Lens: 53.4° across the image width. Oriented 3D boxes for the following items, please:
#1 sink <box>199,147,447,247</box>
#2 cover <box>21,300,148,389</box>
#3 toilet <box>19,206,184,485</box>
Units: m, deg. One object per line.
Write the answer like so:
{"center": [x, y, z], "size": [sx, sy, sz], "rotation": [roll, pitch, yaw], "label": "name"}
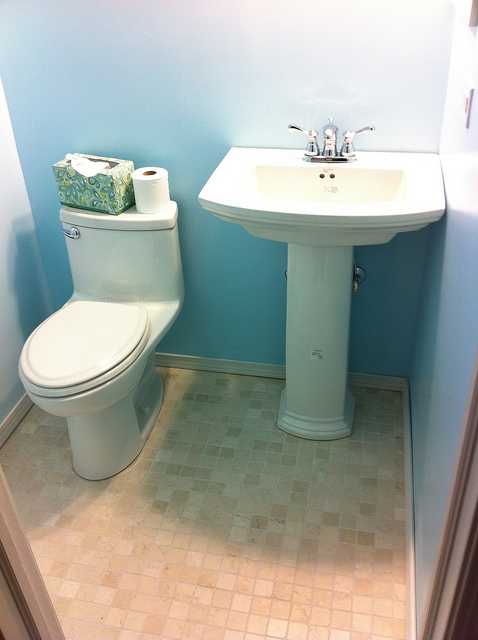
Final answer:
{"center": [0.222, -0.287, 1.289], "size": [0.594, 0.271, 0.501], "rotation": [6, 30, 17], "label": "sink"}
{"center": [-0.458, 0.061, 1.389], "size": [0.327, 0.045, 0.389], "rotation": [2, 31, 11], "label": "cover"}
{"center": [-0.434, 0.085, 1.502], "size": [0.351, 0.774, 0.652], "rotation": [4, 24, 7], "label": "toilet"}
